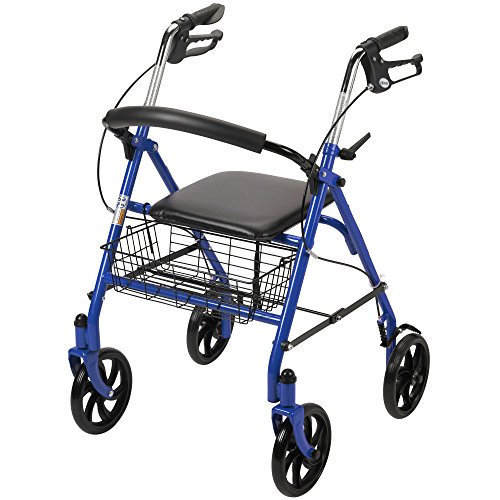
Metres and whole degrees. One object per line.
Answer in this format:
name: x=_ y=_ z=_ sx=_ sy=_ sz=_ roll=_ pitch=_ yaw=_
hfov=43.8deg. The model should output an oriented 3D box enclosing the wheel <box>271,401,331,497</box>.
wheel: x=0.172 y=0.677 z=1.994 sx=0.194 sy=0.301 sz=0.401 roll=-4 pitch=-48 yaw=5
